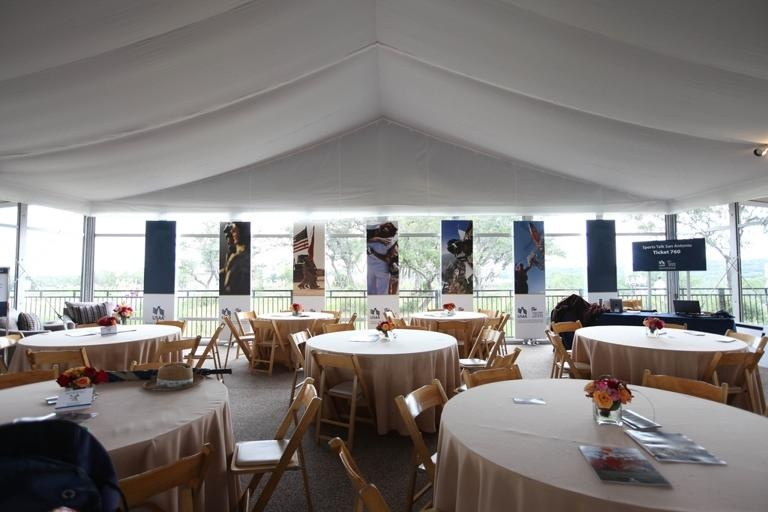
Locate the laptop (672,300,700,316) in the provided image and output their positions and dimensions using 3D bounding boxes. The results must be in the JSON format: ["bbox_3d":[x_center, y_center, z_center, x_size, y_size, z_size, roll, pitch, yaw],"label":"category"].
[{"bbox_3d":[5.220,0.805,8.579,0.350,0.261,0.266,-3,25,37],"label":"laptop"}]
